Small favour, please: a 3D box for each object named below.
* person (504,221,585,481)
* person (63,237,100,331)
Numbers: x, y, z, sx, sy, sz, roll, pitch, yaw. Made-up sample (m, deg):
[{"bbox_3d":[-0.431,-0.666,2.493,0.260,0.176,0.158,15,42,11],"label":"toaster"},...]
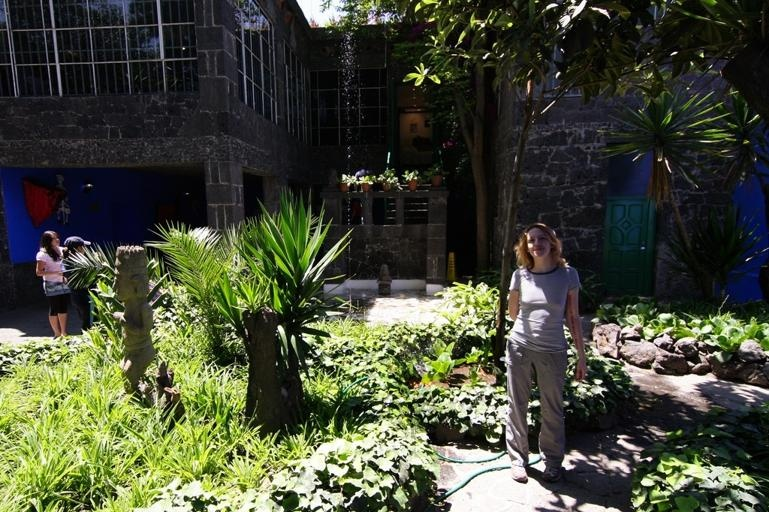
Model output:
[{"bbox_3d":[1.893,1.130,6.447,0.889,3.025,0.505,0,4,13],"label":"person"},{"bbox_3d":[-4.925,0.479,8.722,0.383,1.563,1.460,-4,5,-30],"label":"person"}]
